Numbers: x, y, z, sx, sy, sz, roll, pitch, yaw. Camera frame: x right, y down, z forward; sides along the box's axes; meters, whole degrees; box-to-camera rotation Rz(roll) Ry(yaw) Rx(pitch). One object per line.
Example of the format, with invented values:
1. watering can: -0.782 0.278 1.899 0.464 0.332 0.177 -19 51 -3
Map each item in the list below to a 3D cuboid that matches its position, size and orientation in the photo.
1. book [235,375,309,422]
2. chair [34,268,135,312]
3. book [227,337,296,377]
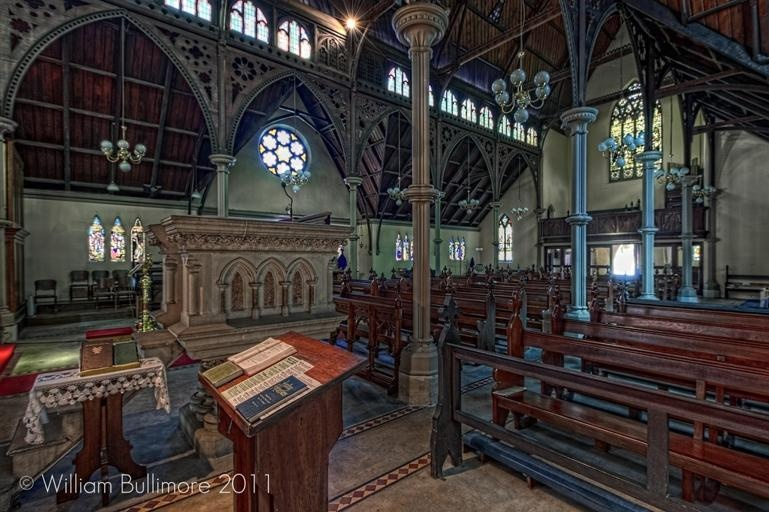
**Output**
1. book: -1.440 1.823 6.266 0.684 0.151 0.506 -25 7 -32
2. chair: -10.004 1.095 16.176 2.684 0.995 1.290 -1 -1 -35
3. book: -1.692 1.367 6.732 0.546 0.141 0.578 -24 33 -35
